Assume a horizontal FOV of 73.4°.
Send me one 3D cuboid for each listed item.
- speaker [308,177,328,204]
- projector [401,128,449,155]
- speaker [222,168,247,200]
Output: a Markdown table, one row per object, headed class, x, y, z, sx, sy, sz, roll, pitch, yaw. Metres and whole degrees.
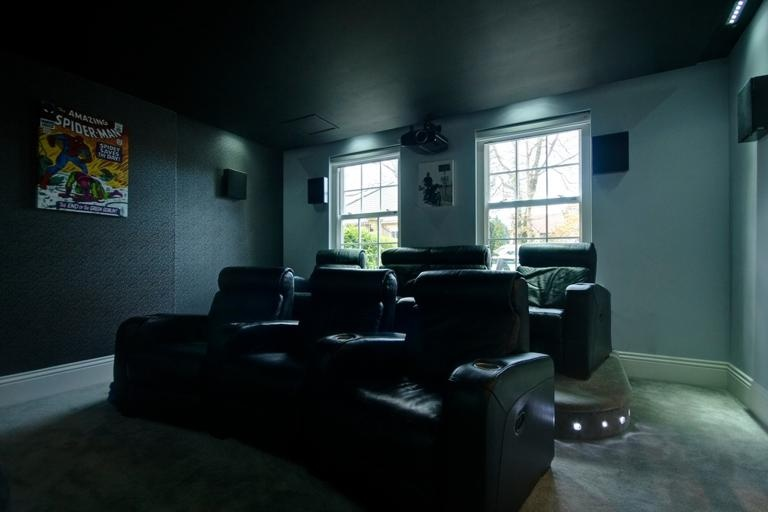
| class | x | y | z | sx | sy | sz | roll | pitch | yaw |
| --- | --- | --- | --- | --- | --- | --- | --- | --- | --- |
| speaker | -0.890 | -0.895 | 7.062 | 0.367 | 0.384 | 0.127 | -1 | -3 | 28 |
| projector | 0.494 | -1.372 | 6.158 | 0.477 | 0.259 | 0.475 | 2 | 2 | 24 |
| speaker | -1.924 | -0.911 | 6.567 | 0.146 | 0.411 | 0.443 | -1 | -1 | 30 |
